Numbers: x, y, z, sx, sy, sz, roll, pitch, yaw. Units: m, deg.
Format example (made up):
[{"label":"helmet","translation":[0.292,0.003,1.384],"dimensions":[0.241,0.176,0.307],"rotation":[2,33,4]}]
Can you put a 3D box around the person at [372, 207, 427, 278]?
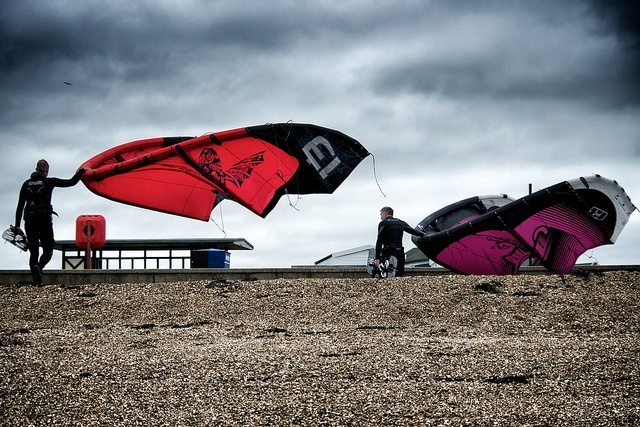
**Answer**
[{"label":"person","translation":[1.520,0.651,19.072],"dimensions":[0.814,1.489,1.003],"rotation":[1,15,6]}]

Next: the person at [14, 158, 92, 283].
[{"label":"person","translation":[-5.521,0.218,18.254],"dimensions":[1.211,2.479,0.695],"rotation":[-8,17,-26]}]
